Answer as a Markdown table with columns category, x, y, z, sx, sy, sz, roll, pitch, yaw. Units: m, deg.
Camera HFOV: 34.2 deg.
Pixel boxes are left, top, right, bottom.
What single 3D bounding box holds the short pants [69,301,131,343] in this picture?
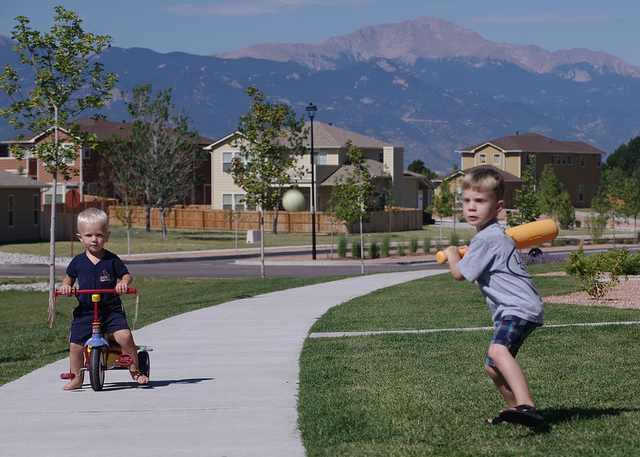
| category | x | y | z | sx | sy | sz | roll | pitch | yaw |
| --- | --- | --- | --- | --- | --- | --- | --- | --- | --- |
| short pants | -3.249 | 1.340 | 15.204 | 0.891 | 0.710 | 0.375 | -5 | 3 | 0 |

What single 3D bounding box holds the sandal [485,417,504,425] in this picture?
| category | x | y | z | sx | sy | sz | roll | pitch | yaw |
| --- | --- | --- | --- | --- | --- | --- | --- | --- | --- |
| sandal | 2.300 | 2.535 | 13.670 | 0.225 | 0.066 | 0.083 | -9 | -6 | 44 |

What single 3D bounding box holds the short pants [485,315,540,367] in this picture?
| category | x | y | z | sx | sy | sz | roll | pitch | yaw |
| --- | --- | --- | --- | --- | --- | --- | --- | --- | --- |
| short pants | 2.459 | 1.365 | 13.260 | 0.568 | 0.557 | 0.227 | -1 | 1 | 10 |

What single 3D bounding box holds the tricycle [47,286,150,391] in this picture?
| category | x | y | z | sx | sy | sz | roll | pitch | yaw |
| --- | --- | --- | --- | --- | --- | --- | --- | --- | --- |
| tricycle | -3.222 | 1.628 | 15.527 | 1.239 | 1.530 | 1.936 | -1 | -3 | -3 |
